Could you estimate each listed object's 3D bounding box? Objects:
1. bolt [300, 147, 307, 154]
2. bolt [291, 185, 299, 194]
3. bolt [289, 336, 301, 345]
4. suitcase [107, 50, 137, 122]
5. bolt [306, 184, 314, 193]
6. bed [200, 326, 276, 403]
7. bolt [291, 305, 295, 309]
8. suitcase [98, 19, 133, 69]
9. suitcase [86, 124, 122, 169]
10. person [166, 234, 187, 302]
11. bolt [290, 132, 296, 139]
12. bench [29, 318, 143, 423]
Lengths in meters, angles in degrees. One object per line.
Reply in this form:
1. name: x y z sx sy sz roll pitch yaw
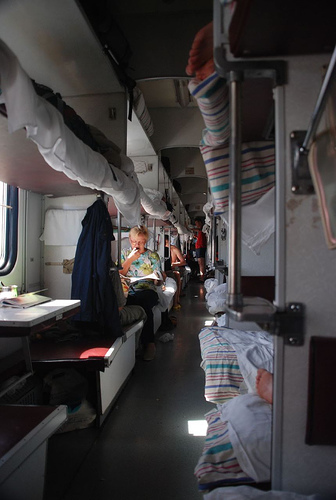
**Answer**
1. bolt: 0.415 -0.308 1.103 0.013 0.006 0.019 6 -36 32
2. bolt: 0.399 -0.195 1.140 0.019 0.021 0.037 2 27 15
3. bolt: 0.397 0.287 1.120 0.036 0.027 0.004 1 1 -10
4. suitcase: -0.421 -1.653 3.478 0.243 0.081 0.328 36 -10 9
5. bolt: 0.451 -0.196 1.136 0.020 0.022 0.019 26 3 28
6. bed: 0.418 0.677 2.320 0.505 0.214 0.743 -1 21 4
7. bolt: 0.391 0.182 1.122 0.008 0.007 0.011 -3 5 7
8. suitcase: -0.524 -1.790 3.102 0.383 0.396 0.145 23 -55 -37
9. suitcase: -0.530 -0.882 3.105 0.124 0.272 0.581 1 1 12
10. person: 0.182 0.438 8.978 0.495 1.651 1.282 1 1 2
11. bolt: 0.395 -0.364 1.130 0.015 0.020 0.006 14 12 19
12. bench: -0.708 1.040 3.197 0.690 0.556 1.112 -5 3 10
